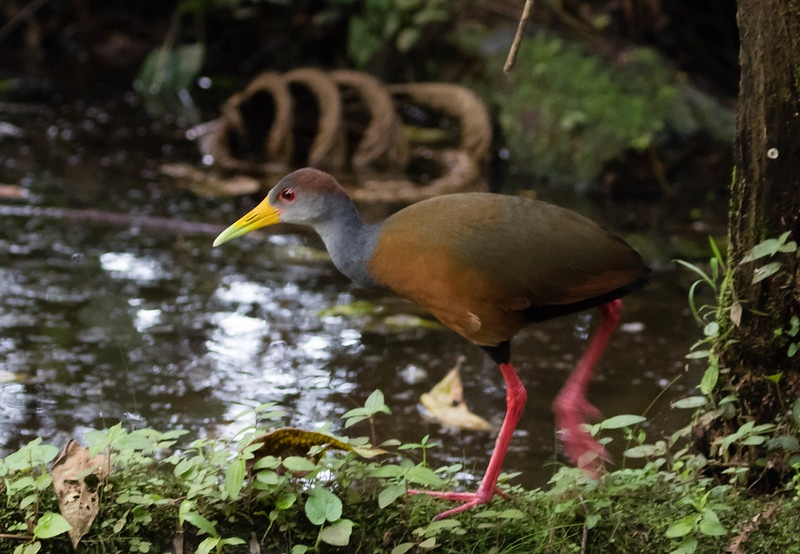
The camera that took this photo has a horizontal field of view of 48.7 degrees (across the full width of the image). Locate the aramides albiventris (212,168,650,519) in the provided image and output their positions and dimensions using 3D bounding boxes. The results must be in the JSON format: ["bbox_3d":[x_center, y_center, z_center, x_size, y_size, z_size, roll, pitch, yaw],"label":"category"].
[{"bbox_3d":[0.342,0.277,4.522,1.855,1.736,0.683,1,-3,-6],"label":"aramides albiventris"}]
